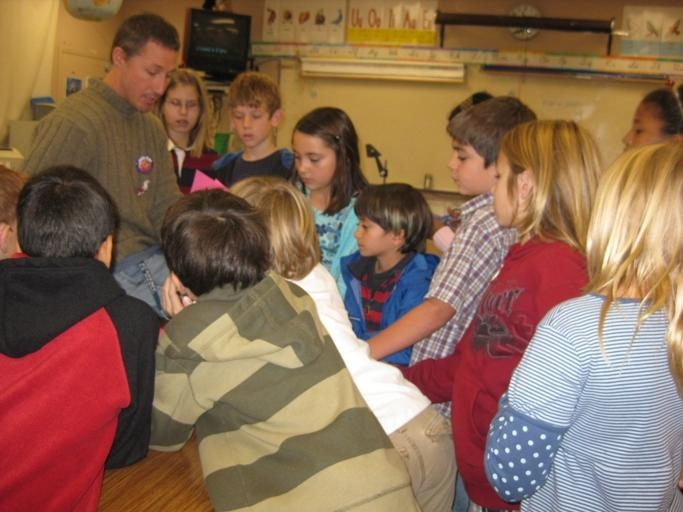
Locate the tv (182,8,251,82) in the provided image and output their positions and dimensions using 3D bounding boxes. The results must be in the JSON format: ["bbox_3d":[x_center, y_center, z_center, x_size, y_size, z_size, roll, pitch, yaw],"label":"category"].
[{"bbox_3d":[-1.090,-1.703,4.956,0.639,0.600,0.572,1,24,-27],"label":"tv"}]
